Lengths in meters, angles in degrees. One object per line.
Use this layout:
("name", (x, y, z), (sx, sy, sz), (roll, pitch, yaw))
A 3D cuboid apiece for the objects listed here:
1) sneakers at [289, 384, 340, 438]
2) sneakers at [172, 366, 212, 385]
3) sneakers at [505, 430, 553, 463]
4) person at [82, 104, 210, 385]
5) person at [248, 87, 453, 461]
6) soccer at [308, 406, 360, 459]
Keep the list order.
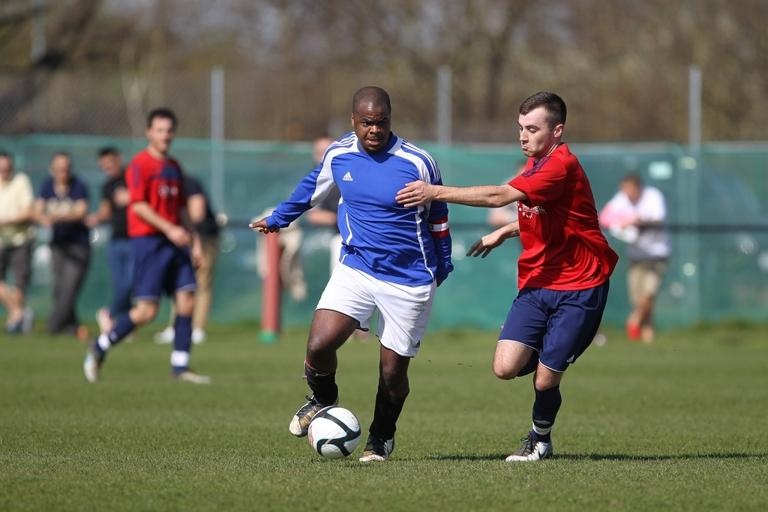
("sneakers", (-0.731, 1.492, 12.172), (0.228, 0.669, 0.300), (44, -2, -1))
("sneakers", (-2.181, 1.360, 14.558), (0.323, 0.133, 0.214), (11, -1, 2))
("sneakers", (1.396, 1.782, 11.986), (0.531, 0.235, 0.191), (0, -2, -30))
("person", (-2.544, -0.107, 14.245), (1.251, 3.071, 0.664), (1, 4, -11))
("person", (-0.107, 0.152, 11.981), (1.499, 3.424, 0.656), (1, 4, -5))
("soccer", (-0.456, 1.642, 11.934), (0.455, 0.448, 0.447), (11, -27, -10))
